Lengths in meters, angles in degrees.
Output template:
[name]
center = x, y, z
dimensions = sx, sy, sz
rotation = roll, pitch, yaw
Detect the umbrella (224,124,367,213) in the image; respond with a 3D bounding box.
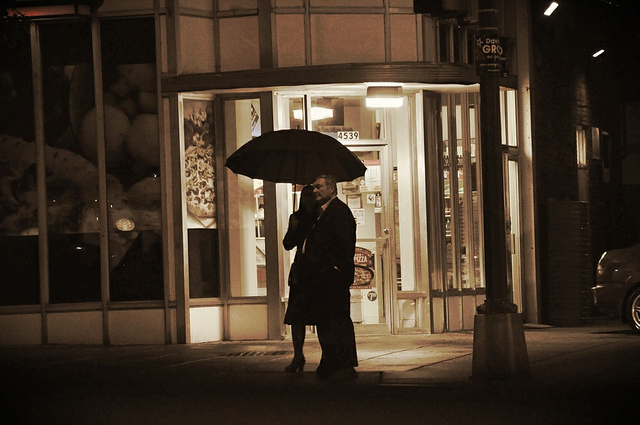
[umbrella]
center = -0.240, -0.988, 12.919
dimensions = 1.641, 1.296, 1.616
rotation = -1, -12, 13

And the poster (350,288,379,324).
[poster]
center = 0.904, 1.883, 15.250
dimensions = 0.550, 0.707, 0.110
rotation = -2, 3, -2

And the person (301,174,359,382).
[person]
center = 0.140, 1.004, 11.484
dimensions = 0.790, 3.047, 0.455
rotation = -1, 3, 13
